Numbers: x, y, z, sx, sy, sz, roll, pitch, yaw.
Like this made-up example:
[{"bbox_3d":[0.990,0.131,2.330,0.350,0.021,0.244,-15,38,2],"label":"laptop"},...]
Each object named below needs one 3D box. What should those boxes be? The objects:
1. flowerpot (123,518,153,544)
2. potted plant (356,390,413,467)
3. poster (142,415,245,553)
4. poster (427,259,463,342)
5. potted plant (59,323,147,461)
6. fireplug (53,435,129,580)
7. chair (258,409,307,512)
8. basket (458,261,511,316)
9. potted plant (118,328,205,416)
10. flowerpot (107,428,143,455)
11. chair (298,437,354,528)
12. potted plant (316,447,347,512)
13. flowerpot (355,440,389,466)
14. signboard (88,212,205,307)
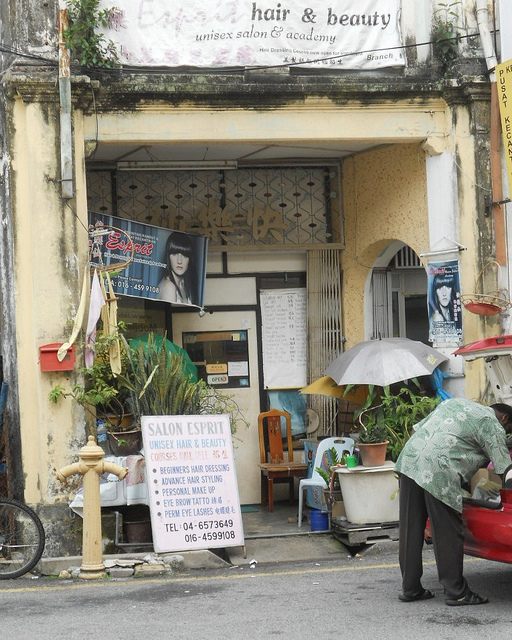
[{"bbox_3d":[-1.027,1.843,8.313,0.240,0.189,0.261,-4,-6,12],"label":"flowerpot"},{"bbox_3d":[1.210,1.019,8.813,0.498,0.744,0.494,-1,-12,15],"label":"potted plant"},{"bbox_3d":[-0.524,1.364,8.007,0.846,1.120,0.086,-7,-4,19],"label":"poster"},{"bbox_3d":[1.895,-0.195,9.470,0.044,0.811,0.464,-6,2,-36],"label":"poster"},{"bbox_3d":[-1.217,0.705,8.638,0.552,1.095,0.804,-15,11,-13],"label":"potted plant"},{"bbox_3d":[-1.300,1.518,7.625,0.511,1.002,0.564,5,3,-11],"label":"fireplug"},{"bbox_3d":[0.267,1.576,10.623,0.502,1.074,0.524,0,-2,-22],"label":"chair"},{"bbox_3d":[2.208,-0.282,8.999,0.417,0.534,0.447,-1,2,-2],"label":"basket"},{"bbox_3d":[-0.901,0.586,8.527,0.572,0.769,0.499,1,11,-14],"label":"potted plant"},{"bbox_3d":[-1.160,1.080,8.372,0.259,0.174,0.252,0,-7,-1],"label":"flowerpot"},{"bbox_3d":[0.693,1.614,9.689,0.553,0.863,0.594,2,2,-38],"label":"chair"},{"bbox_3d":[0.729,1.477,9.004,0.294,0.422,0.345,-19,-16,13],"label":"potted plant"},{"bbox_3d":[1.043,1.185,8.331,0.230,0.154,0.224,0,-9,-4],"label":"flowerpot"},{"bbox_3d":[-1.152,-0.607,9.744,1.492,0.791,0.024,11,19,29],"label":"signboard"}]
